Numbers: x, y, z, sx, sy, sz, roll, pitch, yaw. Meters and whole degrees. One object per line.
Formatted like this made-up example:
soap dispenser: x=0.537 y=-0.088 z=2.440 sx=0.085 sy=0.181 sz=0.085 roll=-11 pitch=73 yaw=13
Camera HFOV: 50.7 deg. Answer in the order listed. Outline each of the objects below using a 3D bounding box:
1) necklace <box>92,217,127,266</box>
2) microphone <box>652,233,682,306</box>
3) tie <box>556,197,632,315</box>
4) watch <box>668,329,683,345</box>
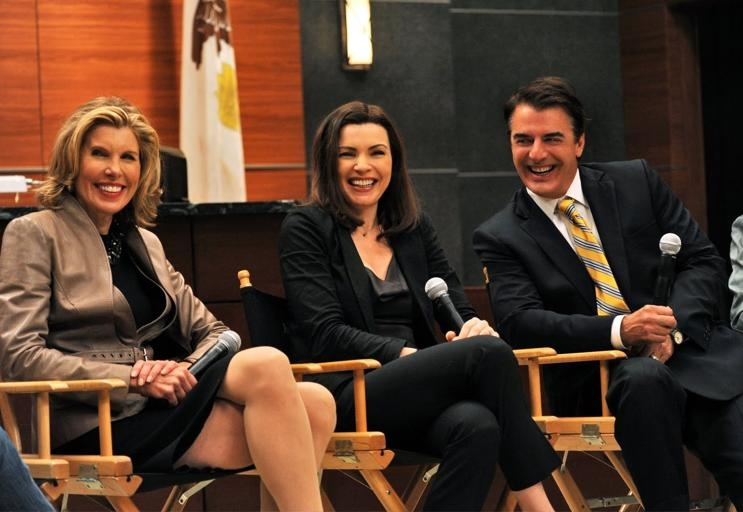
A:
necklace: x=-0.928 y=-0.057 z=2.822 sx=0.062 sy=0.152 sz=0.117 roll=1 pitch=7 yaw=19
microphone: x=1.074 y=0.046 z=2.861 sx=0.097 sy=0.259 sz=0.076 roll=-6 pitch=5 yaw=-18
tie: x=0.878 y=0.014 z=3.182 sx=0.141 sy=0.612 sz=0.086 roll=-23 pitch=-16 yaw=8
watch: x=1.121 y=0.294 z=2.899 sx=0.063 sy=0.056 sz=0.022 roll=16 pitch=-18 yaw=-39
